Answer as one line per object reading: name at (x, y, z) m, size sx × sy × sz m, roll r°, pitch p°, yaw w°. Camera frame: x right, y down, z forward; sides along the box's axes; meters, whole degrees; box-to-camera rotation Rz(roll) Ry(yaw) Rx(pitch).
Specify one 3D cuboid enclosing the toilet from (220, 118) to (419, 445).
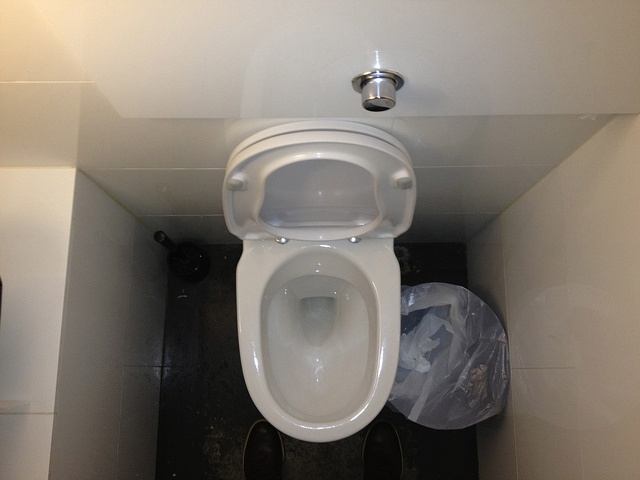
toilet at (0.000, 0.027, 1.663) m, size 0.538 × 0.936 × 1.015 m, roll -1°, pitch 73°, yaw -3°
